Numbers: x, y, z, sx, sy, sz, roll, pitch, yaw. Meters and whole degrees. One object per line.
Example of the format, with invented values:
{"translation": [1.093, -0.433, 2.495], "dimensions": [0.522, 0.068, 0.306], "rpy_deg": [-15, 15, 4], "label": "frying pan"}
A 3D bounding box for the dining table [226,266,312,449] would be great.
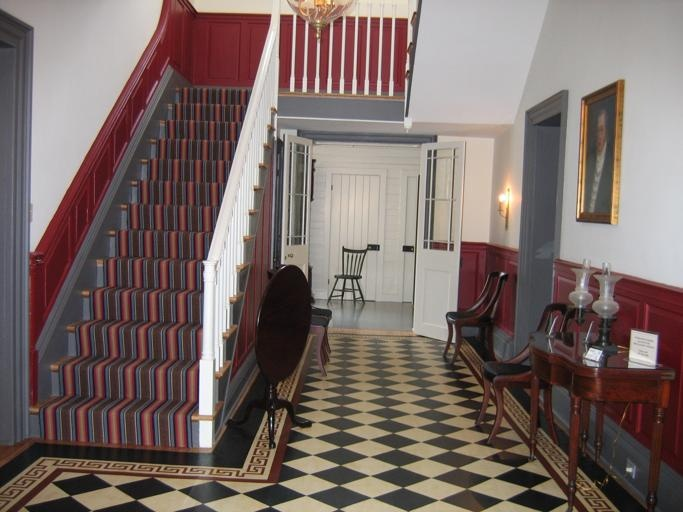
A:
{"translation": [-0.606, 0.899, 4.472], "dimensions": [0.837, 1.390, 0.541], "rpy_deg": [8, 19, 24], "label": "dining table"}

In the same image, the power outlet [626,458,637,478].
{"translation": [2.150, 1.569, 3.955], "dimensions": [0.016, 0.101, 0.162], "rpy_deg": [-6, -7, 18], "label": "power outlet"}

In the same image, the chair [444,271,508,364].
{"translation": [1.695, 0.764, 6.934], "dimensions": [0.819, 1.147, 0.796], "rpy_deg": [4, 4, 40], "label": "chair"}
